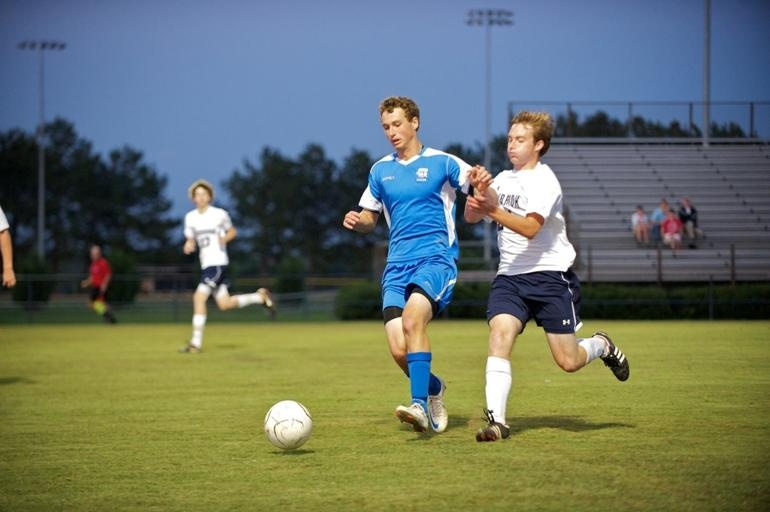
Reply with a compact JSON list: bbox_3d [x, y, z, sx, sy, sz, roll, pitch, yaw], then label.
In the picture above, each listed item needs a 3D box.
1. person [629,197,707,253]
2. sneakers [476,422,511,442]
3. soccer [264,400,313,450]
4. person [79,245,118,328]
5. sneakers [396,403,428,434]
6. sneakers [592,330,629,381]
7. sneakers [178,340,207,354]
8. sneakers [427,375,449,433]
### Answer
[{"bbox_3d":[3.403,-0.385,13.713,0.576,0.395,0.769,-1,10,-2],"label":"person"},{"bbox_3d":[1.055,1.707,10.867,0.361,0.168,0.137,6,-20,-30],"label":"sneakers"},{"bbox_3d":[-0.912,1.639,10.849,0.452,0.440,0.426,-1,-17,2],"label":"soccer"},{"bbox_3d":[-4.641,0.549,18.304,0.631,1.245,0.534,11,-47,-18],"label":"person"},{"bbox_3d":[0.284,1.589,11.029,0.162,0.218,0.444,-1,-30,42],"label":"sneakers"},{"bbox_3d":[2.627,1.200,13.084,0.301,0.676,0.234,-46,14,-34],"label":"sneakers"},{"bbox_3d":[-2.781,1.315,15.940,0.281,0.147,0.301,2,9,18],"label":"sneakers"},{"bbox_3d":[0.530,1.513,11.348,0.195,0.556,0.222,-7,-13,2],"label":"sneakers"}]
